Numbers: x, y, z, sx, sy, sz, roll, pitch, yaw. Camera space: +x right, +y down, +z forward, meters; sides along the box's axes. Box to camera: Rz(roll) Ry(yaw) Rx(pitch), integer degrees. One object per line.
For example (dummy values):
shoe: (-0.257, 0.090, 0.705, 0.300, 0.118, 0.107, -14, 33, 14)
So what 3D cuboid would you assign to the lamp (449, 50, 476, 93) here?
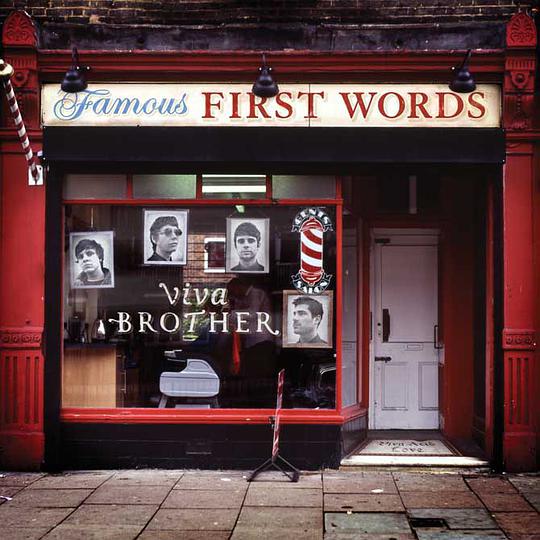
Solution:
lamp: (2.134, -2.208, 9.526, 0.284, 0.468, 0.261, 1, 6, 12)

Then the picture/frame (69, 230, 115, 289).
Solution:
picture/frame: (-2.067, -0.105, 9.896, 0.604, 0.822, 0.051, -2, 1, 1)

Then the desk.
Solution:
desk: (-1.905, 1.306, 10.152, 0.969, 0.968, 0.681, 2, 6, -5)

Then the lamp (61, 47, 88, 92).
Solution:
lamp: (-2.174, -2.224, 9.563, 0.287, 0.484, 0.291, -1, 6, -12)

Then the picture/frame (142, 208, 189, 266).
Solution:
picture/frame: (-1.212, -0.352, 9.888, 0.609, 0.837, 0.064, 0, -3, -2)

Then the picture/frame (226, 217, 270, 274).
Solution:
picture/frame: (-0.248, -0.271, 9.875, 0.605, 0.799, 0.063, 0, -4, 0)

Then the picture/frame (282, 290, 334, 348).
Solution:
picture/frame: (0.459, 0.581, 9.814, 0.616, 0.754, 0.047, 0, -2, 4)

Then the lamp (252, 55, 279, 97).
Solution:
lamp: (-0.049, -2.164, 9.557, 0.281, 0.483, 0.298, 0, 6, 0)
